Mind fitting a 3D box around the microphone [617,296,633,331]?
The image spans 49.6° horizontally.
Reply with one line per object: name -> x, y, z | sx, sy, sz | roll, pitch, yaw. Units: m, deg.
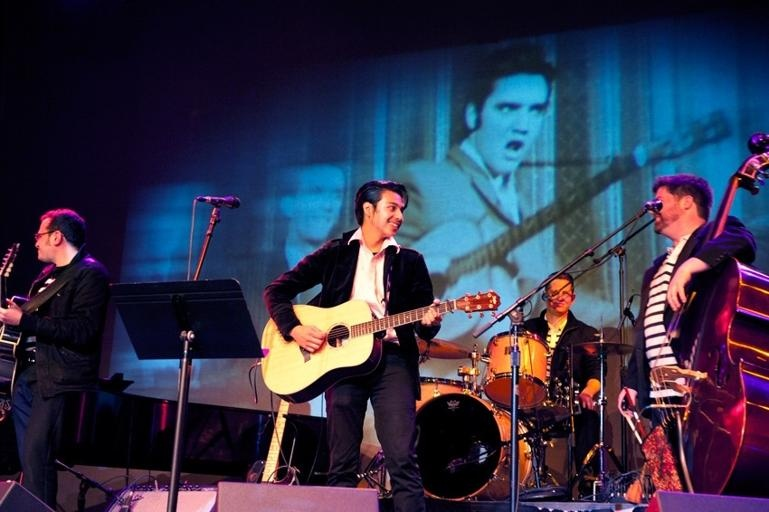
microphone -> 2.570, 0.629, 8.907 | 0.075, 0.366, 0.195 | -18, 29, -42

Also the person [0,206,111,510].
person -> -2.988, 0.859, 7.562 | 0.871, 2.708, 0.566 | 4, -10, -13

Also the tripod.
tripod -> 2.192, 1.768, 8.665 | 0.527, 1.513, 1.358 | -1, -11, 14

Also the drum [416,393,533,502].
drum -> 0.872, 1.912, 8.118 | 0.691, 0.867, 0.884 | 10, -39, -47
